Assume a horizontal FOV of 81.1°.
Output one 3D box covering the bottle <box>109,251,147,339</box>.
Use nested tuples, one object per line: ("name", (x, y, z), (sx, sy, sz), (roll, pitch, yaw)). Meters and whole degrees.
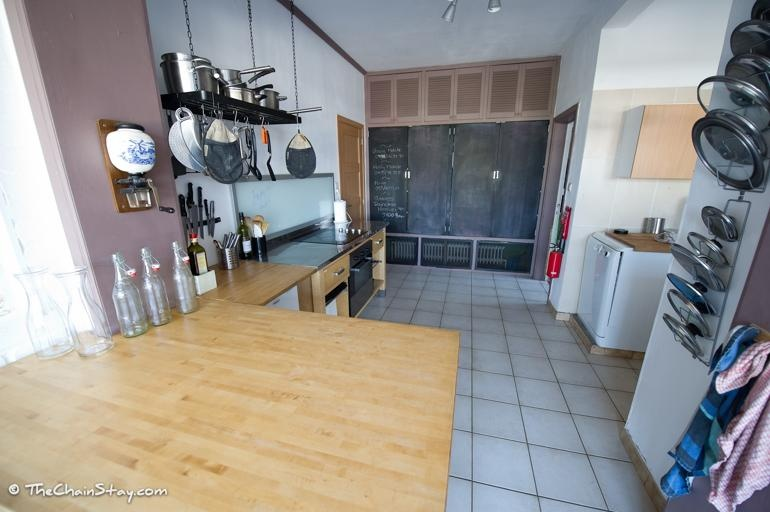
("bottle", (-1.318, 0.200, 2.306), (0.146, 0.422, 0.122), (-8, 20, -27))

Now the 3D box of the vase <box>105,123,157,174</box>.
("vase", (-1.313, -0.543, 2.339), (0.230, 0.253, 0.221), (4, 13, 13))

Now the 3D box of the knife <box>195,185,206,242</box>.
("knife", (-1.248, -0.292, 3.066), (0.044, 0.295, 0.026), (-2, 1, -43))

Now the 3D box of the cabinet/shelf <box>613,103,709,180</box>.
("cabinet/shelf", (2.193, -0.908, 3.644), (0.572, 0.593, 0.278), (9, 19, 25))

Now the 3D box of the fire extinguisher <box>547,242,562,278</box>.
("fire extinguisher", (1.674, 0.071, 4.450), (0.116, 0.356, 0.169), (6, 18, 14))

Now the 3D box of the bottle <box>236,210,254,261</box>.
("bottle", (-1.045, -0.159, 3.381), (0.099, 0.334, 0.207), (-4, 17, -16))

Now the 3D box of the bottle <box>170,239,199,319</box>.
("bottle", (-1.123, 0.119, 2.504), (0.095, 0.382, 0.162), (-12, 21, -36))

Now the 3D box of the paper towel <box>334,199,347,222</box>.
("paper towel", (-0.447, -0.449, 4.561), (0.125, 0.224, 0.179), (-1, 17, -7))

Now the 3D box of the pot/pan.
("pot/pan", (-0.958, -1.032, 2.689), (0.698, 0.215, 0.334), (5, 16, 9))

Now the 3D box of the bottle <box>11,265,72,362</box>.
("bottle", (-1.645, 0.279, 2.187), (0.158, 0.423, 0.118), (-13, 22, -38))
